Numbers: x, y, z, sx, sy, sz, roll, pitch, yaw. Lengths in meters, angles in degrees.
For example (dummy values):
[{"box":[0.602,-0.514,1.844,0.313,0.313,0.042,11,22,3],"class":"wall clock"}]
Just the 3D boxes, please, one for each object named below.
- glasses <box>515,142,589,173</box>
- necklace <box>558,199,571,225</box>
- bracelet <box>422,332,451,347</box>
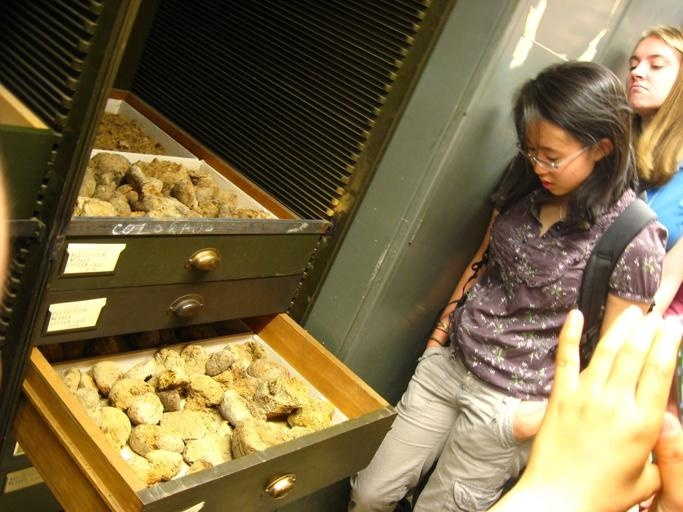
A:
[{"box":[0.593,-0.271,1.268,0.092,0.025,0.091,-27,39,-4],"class":"glasses"},{"box":[0.619,-0.124,1.276,0.013,0.052,0.038,4,0,5],"class":"necklace"},{"box":[0.350,0.295,1.658,0.052,0.039,0.051,-1,-1,-25],"class":"bracelet"}]
